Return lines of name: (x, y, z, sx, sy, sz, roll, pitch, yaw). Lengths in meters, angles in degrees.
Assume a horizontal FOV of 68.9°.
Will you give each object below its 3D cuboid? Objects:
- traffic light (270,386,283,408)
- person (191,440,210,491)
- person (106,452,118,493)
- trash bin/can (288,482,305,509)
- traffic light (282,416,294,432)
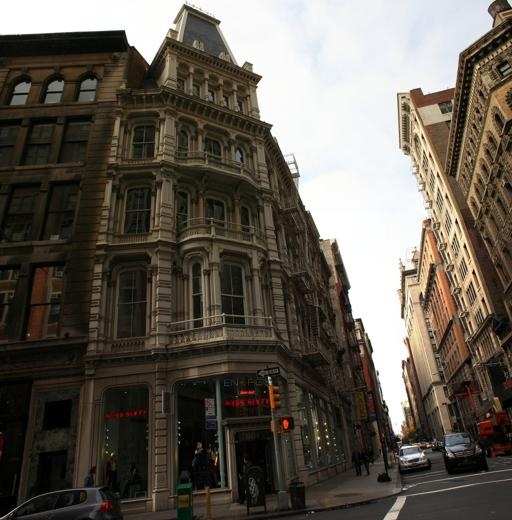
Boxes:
traffic light: (0.636, 4.741, 12.856, 0.353, 0.838, 0.888, -5, -29, -2)
person: (-2.383, 8.725, 15.816, 0.757, 1.767, 0.722, -6, -29, -2)
person: (-6.134, 9.065, 15.870, 0.584, 1.417, 0.246, 3, -30, -16)
trash bin/can: (1.305, 7.384, 11.636, 0.454, 0.699, 0.549, -6, -29, -2)
traffic light: (1.107, 5.487, 12.467, 0.375, 0.411, 0.635, -23, -33, 26)
